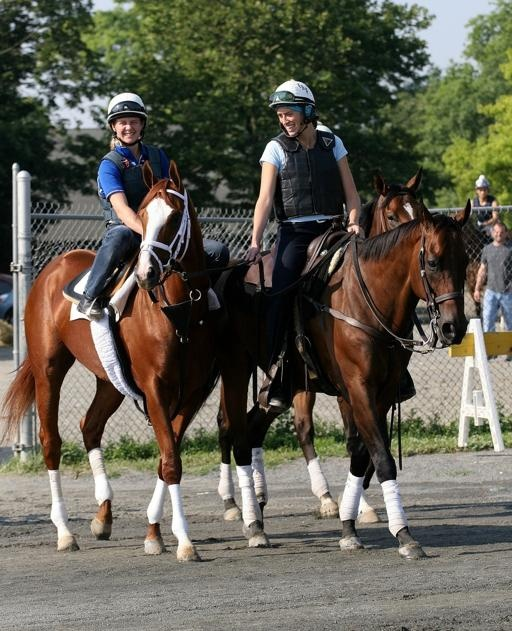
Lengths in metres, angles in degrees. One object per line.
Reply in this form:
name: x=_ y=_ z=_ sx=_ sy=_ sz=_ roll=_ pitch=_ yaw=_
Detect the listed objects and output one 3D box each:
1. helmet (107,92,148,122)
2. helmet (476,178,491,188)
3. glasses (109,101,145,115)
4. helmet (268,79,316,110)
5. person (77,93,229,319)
helmet: x=-0.894 y=-1.444 z=7.583 sx=0.206 sy=0.186 sz=0.252 roll=0 pitch=-20 yaw=-2
helmet: x=3.437 y=-1.997 z=16.464 sx=0.176 sy=0.164 sz=0.265 roll=0 pitch=-11 yaw=6
glasses: x=-0.879 y=-1.420 z=7.500 sx=0.253 sy=0.092 sz=0.156 roll=-3 pitch=0 yaw=-12
helmet: x=0.252 y=-1.501 z=7.494 sx=0.268 sy=0.149 sz=0.195 roll=5 pitch=-7 yaw=-37
person: x=-0.835 y=-0.784 z=7.589 sx=1.176 sy=1.571 sz=0.960 roll=-8 pitch=12 yaw=-26
